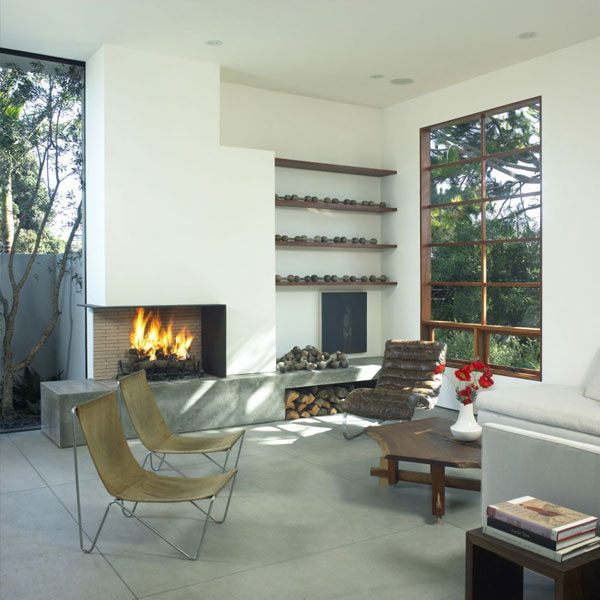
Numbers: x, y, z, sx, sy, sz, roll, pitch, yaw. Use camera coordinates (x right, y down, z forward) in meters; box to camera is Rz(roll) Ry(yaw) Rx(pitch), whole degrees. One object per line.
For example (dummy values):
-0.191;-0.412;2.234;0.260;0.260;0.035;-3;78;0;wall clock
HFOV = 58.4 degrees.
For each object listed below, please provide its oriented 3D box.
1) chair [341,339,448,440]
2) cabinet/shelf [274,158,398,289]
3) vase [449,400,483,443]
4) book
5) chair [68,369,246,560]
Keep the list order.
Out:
1.040;0.817;5.309;0.814;0.833;1.142;0;1;34;chair
0.429;-1.000;7.085;2.010;1.553;0.518;1;1;-25;cabinet/shelf
1.184;0.877;3.863;0.265;0.254;0.252;1;-1;-34;vase
0.860;0.807;1.947;0.189;0.079;0.240;-1;1;-32;book
-0.931;0.939;3.077;1.066;0.918;0.758;2;3;9;chair
